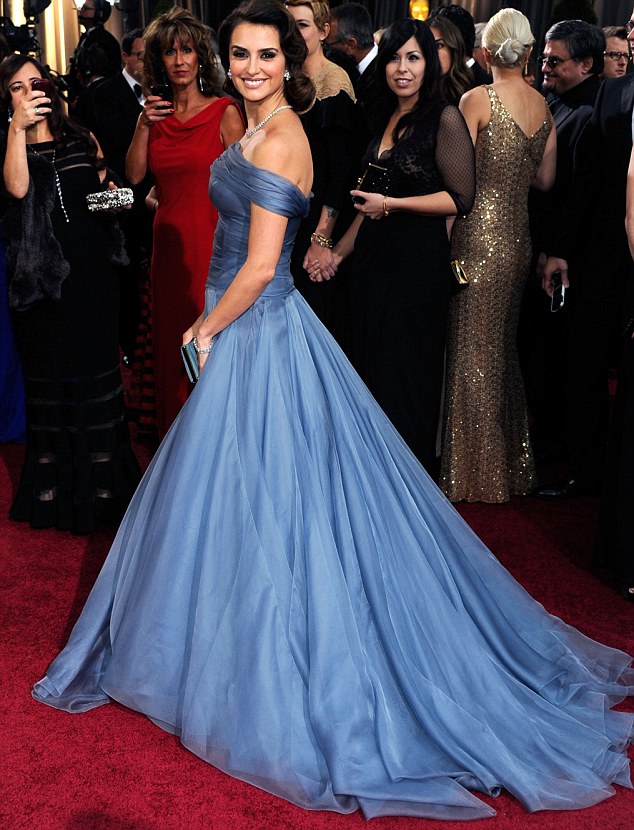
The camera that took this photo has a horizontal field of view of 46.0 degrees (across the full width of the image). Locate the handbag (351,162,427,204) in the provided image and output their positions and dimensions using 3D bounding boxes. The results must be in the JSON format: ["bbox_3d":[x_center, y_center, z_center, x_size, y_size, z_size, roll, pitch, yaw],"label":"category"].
[{"bbox_3d":[0.253,-0.863,2.666,0.211,0.139,0.112,-2,9,-7],"label":"handbag"}]

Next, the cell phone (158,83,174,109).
[{"bbox_3d":[-0.570,-1.241,2.821,0.046,0.099,0.081,-10,9,-9],"label":"cell phone"}]

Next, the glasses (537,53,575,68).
[{"bbox_3d":[1.099,-1.635,3.394,0.110,0.042,0.117,-2,24,-17],"label":"glasses"}]

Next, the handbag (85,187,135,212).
[{"bbox_3d":[-0.717,-0.772,2.590,0.143,0.045,0.092,0,-5,-4],"label":"handbag"}]
